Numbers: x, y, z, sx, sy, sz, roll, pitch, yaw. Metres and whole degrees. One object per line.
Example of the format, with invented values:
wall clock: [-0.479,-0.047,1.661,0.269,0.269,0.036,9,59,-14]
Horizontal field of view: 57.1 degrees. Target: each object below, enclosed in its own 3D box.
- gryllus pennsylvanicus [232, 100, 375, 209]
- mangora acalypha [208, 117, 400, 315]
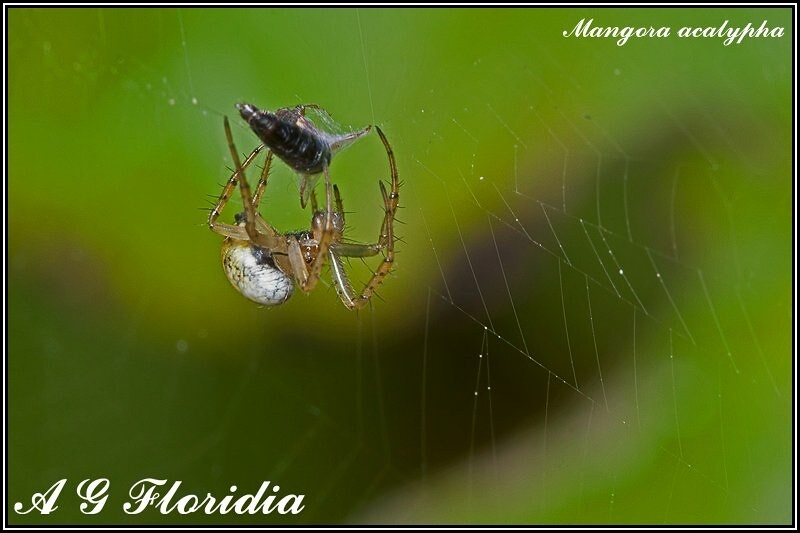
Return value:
gryllus pennsylvanicus: [-0.385,-0.387,2.962,0.297,0.569,0.509,24,33,24]
mangora acalypha: [-0.417,-0.180,3.298,0.824,0.907,0.647,17,20,3]
